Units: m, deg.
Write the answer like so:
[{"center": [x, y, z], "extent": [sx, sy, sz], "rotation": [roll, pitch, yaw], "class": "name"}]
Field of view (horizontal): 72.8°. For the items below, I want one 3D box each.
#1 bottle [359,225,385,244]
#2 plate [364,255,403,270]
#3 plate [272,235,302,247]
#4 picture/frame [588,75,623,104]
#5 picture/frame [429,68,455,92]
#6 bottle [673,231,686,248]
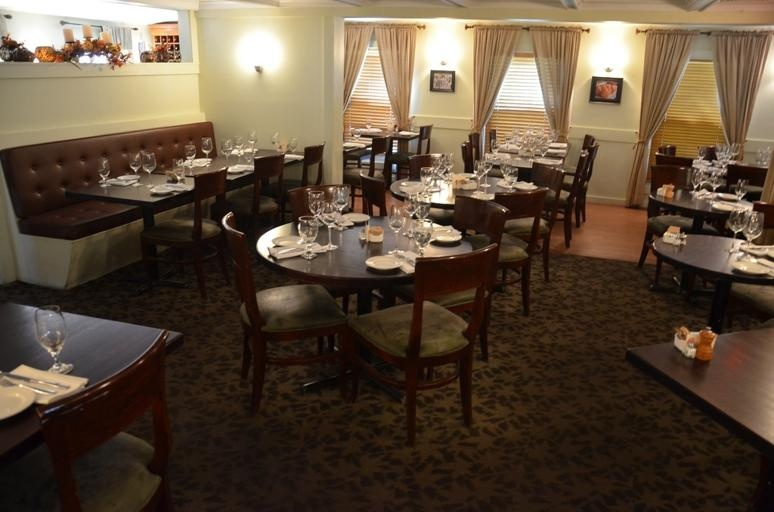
[{"center": [-0.119, -0.160, 3.990], "extent": [0.170, 0.122, 0.111], "rotation": [4, 10, 25], "class": "bottle"}, {"center": [-0.022, 0.045, 3.548], "extent": [0.131, 0.018, 0.129], "rotation": [-9, 27, -21], "class": "plate"}, {"center": [-0.734, -0.108, 3.841], "extent": [0.212, 0.019, 0.182], "rotation": [1, 23, 1], "class": "plate"}, {"center": [3.589, -2.735, 8.593], "extent": [0.434, 0.375, 0.046], "rotation": [7, 16, 15], "class": "picture/frame"}, {"center": [0.992, -3.152, 9.396], "extent": [0.416, 0.356, 0.030], "rotation": [4, 16, 14], "class": "picture/frame"}, {"center": [2.423, -0.134, 4.349], "extent": [0.093, 0.116, 0.114], "rotation": [11, 35, 26], "class": "bottle"}]
